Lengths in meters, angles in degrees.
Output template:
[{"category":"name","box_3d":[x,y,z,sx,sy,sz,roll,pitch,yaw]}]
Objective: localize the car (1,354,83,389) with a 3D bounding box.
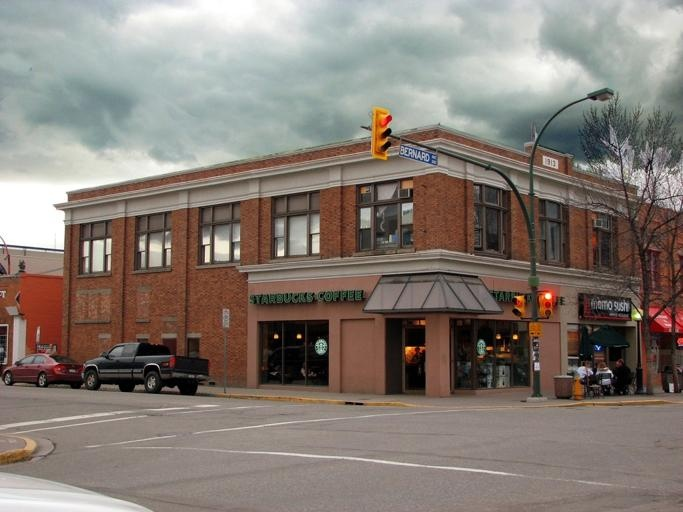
[{"category":"car","box_3d":[-14.862,5.776,35.961,4.052,1.326,1.889,-2,-8,38]}]

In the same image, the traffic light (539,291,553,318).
[{"category":"traffic light","box_3d":[7.681,1.810,26.946,0.496,1.025,0.511,-2,-12,6]}]

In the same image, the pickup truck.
[{"category":"pickup truck","box_3d":[-8.650,5.010,32.104,5.090,1.761,2.559,-1,-8,35]}]

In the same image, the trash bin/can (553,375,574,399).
[{"category":"trash bin/can","box_3d":[8.702,5.210,28.422,0.879,0.933,0.877,2,-9,-4]}]
